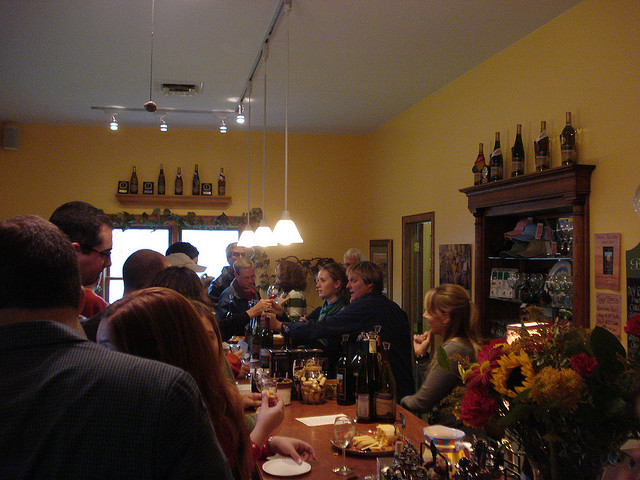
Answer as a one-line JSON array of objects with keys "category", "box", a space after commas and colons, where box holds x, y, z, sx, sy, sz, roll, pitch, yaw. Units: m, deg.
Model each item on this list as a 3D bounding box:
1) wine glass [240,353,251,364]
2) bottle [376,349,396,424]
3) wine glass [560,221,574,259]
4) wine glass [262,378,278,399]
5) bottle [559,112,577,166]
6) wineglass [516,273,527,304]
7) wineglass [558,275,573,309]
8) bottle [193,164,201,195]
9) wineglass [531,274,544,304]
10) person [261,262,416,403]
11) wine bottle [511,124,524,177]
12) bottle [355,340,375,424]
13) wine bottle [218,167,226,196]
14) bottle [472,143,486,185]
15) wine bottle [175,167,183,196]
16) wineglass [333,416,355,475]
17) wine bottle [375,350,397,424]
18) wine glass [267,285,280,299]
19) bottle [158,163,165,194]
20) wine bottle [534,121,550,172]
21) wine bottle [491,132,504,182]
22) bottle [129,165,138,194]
[{"category": "wine glass", "box": [-0.519, 0.826, 3.892, 0.050, 0.057, 0.062, 4, -18, -10]}, {"category": "bottle", "box": [0.338, 0.737, 2.861, 0.096, 0.378, 0.254, 2, -2, 6]}, {"category": "wine glass", "box": [1.750, 0.005, 3.948, 0.042, 0.261, 0.129, 2, -2, -11]}, {"category": "wine glass", "box": [-0.237, 0.711, 2.668, 0.062, 0.101, 0.060, 1, -10, -6]}, {"category": "bottle", "box": [1.701, -0.694, 3.855, 0.133, 0.372, 0.148, 3, -3, -39]}, {"category": "wineglass", "box": [1.528, 0.373, 4.232, 0.070, 0.229, 0.153, 1, -2, 16]}, {"category": "wineglass", "box": [1.710, 0.356, 3.846, 0.074, 0.225, 0.218, 2, -2, 3]}, {"category": "bottle", "box": [-1.566, -0.771, 7.112, 0.096, 0.386, 0.054, 2, -2, -13]}, {"category": "wineglass", "box": [1.608, 0.366, 4.120, 0.086, 0.219, 0.057, 2, -2, -15]}, {"category": "person", "box": [0.123, 0.726, 4.638, 1.251, 1.906, 0.653, 2, -12, -4]}, {"category": "wine bottle", "box": [1.536, -0.695, 4.311, 0.086, 0.422, 0.158, 1, -2, 20]}, {"category": "bottle", "box": [0.252, 0.738, 2.873, 0.109, 0.441, 0.108, 0, -3, 0]}, {"category": "wine bottle", "box": [-1.260, -0.746, 7.147, 0.085, 0.373, 0.069, 2, -2, -14]}, {"category": "bottle", "box": [1.352, -0.648, 4.726, 0.104, 0.384, 0.185, 1, -2, 14]}, {"category": "wine bottle", "box": [-1.784, -0.741, 7.064, 0.094, 0.361, 0.092, 2, -2, 0]}, {"category": "wineglass", "box": [0.103, 0.857, 2.353, 0.086, 0.219, 0.139, 2, -2, 2]}, {"category": "wine bottle", "box": [0.338, 0.739, 2.856, 0.106, 0.383, 0.110, 1, -3, 0]}, {"category": "wine glass", "box": [-0.361, 0.409, 4.321, 0.099, 0.116, 0.103, 1, -7, -5]}, {"category": "bottle", "box": [-2.004, -0.774, 7.029, 0.090, 0.397, 0.070, 2, -2, 9]}, {"category": "wine bottle", "box": [1.612, -0.621, 4.037, 0.099, 0.250, 0.111, 1, -2, 23]}, {"category": "wine bottle", "box": [1.453, -0.681, 4.553, 0.093, 0.416, 0.153, 1, -2, 22]}, {"category": "bottle", "box": [-2.330, -0.756, 6.982, 0.103, 0.373, 0.074, 2, -2, -8]}]
